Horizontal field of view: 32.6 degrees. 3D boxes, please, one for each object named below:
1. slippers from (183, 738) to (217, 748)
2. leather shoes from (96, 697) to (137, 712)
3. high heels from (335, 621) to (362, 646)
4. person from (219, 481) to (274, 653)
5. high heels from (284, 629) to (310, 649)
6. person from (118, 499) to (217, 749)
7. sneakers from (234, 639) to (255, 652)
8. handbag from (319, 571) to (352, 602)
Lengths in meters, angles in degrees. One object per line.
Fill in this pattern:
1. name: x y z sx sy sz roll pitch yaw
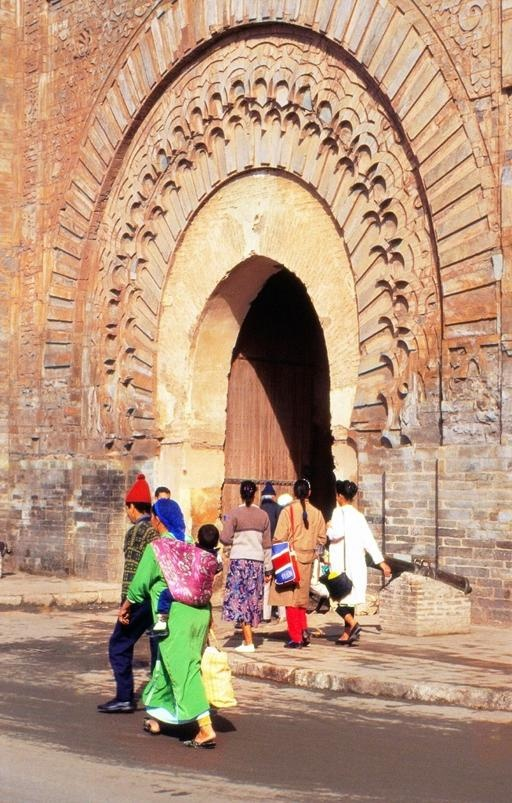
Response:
1. slippers: -0.265 1.605 4.152 0.139 0.042 0.057 1 -16 10
2. leather shoes: -0.797 1.741 5.021 0.217 0.095 0.081 7 -15 -9
3. high heels: 0.802 1.986 7.377 0.101 0.130 0.307 16 -45 -18
4. person: -0.098 1.464 7.469 0.371 1.243 0.595 0 -8 5
5. high heels: 0.358 2.010 7.403 0.092 0.131 0.275 2 -2 -17
6. person: -0.407 1.125 4.558 0.439 1.230 0.843 5 -9 -29
7. sneakers: -0.099 2.015 7.207 0.160 0.073 0.076 -1 -6 29
8. handbag: 0.676 1.582 7.446 0.202 0.246 0.356 6 -10 -38
